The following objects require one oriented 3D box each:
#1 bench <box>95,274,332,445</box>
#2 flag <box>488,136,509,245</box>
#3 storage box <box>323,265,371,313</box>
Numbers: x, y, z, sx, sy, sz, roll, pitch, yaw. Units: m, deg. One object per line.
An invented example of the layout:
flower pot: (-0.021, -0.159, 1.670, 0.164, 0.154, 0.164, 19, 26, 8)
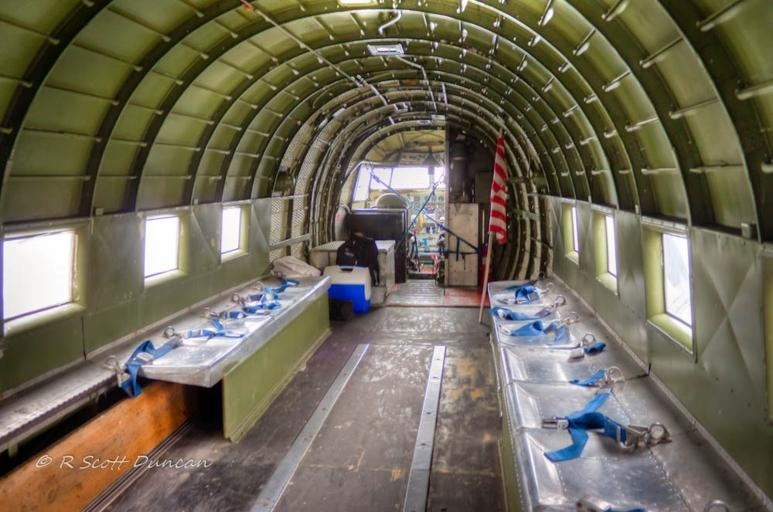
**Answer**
bench: (-2.308, 1.395, 7.636, 1.517, 1.382, 4.345, 2, 15, 13)
flag: (2.375, -1.343, 9.767, 0.294, 2.299, 1.836, 2, 14, 15)
storage box: (-0.783, 0.713, 10.771, 1.167, 1.168, 0.944, 2, 20, 7)
